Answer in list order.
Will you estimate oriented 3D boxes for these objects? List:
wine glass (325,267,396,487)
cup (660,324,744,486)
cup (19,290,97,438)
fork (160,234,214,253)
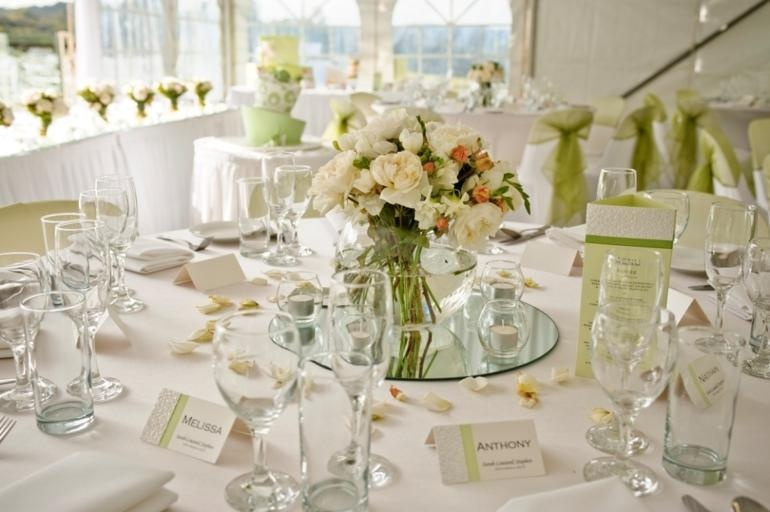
[{"bbox_3d":[-0.043,0.200,0.933,0.092,0.089,0.243,-5,28,-6],"label":"wine glass"},{"bbox_3d":[0.598,0.304,1.031,0.115,0.226,0.117,7,-2,0],"label":"cup"},{"bbox_3d":[-0.658,0.209,1.086,0.108,0.276,0.126,-7,14,-33],"label":"cup"},{"bbox_3d":[-0.762,-0.060,2.007,0.065,0.072,0.389,-29,20,-36],"label":"fork"}]
